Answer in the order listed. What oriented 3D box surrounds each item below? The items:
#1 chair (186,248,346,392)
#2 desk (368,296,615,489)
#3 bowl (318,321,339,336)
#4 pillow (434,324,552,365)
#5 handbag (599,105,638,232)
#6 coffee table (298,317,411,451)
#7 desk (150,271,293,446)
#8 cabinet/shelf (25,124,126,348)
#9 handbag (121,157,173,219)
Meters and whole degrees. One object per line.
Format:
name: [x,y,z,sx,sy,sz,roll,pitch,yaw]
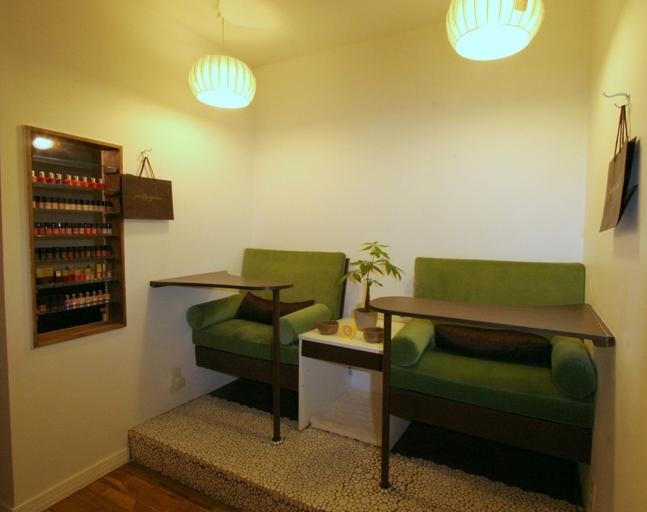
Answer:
chair: [-0.388,0.457,4.290,1.210,1.247,1.023,-1,-4,30]
desk: [1.057,0.378,3.180,1.361,1.351,1.057,1,-2,34]
bowl: [0.048,0.525,3.768,0.153,0.083,0.196,1,6,18]
pillow: [1.142,0.574,3.365,0.775,0.269,0.173,5,15,23]
handbag: [1.628,-0.485,2.808,0.094,0.703,0.360,1,6,18]
coffee table: [0.276,0.895,3.899,0.732,0.821,0.799,1,-1,27]
desk: [-0.642,0.512,4.062,1.207,1.283,1.010,3,5,34]
cabinet/shelf: [-1.659,-0.138,3.451,0.161,1.398,0.681,3,7,33]
handbag: [-1.319,-0.534,3.817,0.106,0.508,0.443,2,6,23]
